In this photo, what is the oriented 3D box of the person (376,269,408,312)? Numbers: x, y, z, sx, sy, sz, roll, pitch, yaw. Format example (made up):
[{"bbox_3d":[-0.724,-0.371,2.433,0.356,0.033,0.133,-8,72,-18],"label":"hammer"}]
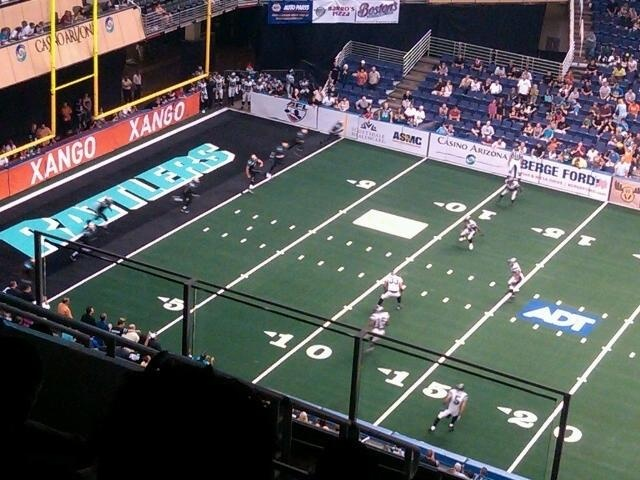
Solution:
[{"bbox_3d":[2.191,1.504,30.780,0.969,1.116,0.714,1,15,-11],"label":"person"}]

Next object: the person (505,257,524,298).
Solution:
[{"bbox_3d":[6.172,1.241,32.199,0.474,1.228,0.433,14,54,16],"label":"person"}]

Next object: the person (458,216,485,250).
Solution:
[{"bbox_3d":[5.113,-0.331,34.587,0.601,1.123,1.291,11,22,6],"label":"person"}]

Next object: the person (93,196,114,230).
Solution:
[{"bbox_3d":[-7.245,-0.870,34.210,0.656,1.039,0.440,29,44,-6],"label":"person"}]

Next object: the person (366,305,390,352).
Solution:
[{"bbox_3d":[1.618,2.403,28.350,0.555,1.246,0.507,-8,37,-20],"label":"person"}]

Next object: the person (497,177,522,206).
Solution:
[{"bbox_3d":[7.076,-1.881,37.634,0.750,1.037,0.930,12,22,9],"label":"person"}]

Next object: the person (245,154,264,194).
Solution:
[{"bbox_3d":[-2.411,-2.435,38.024,0.853,1.761,0.817,6,35,6],"label":"person"}]
